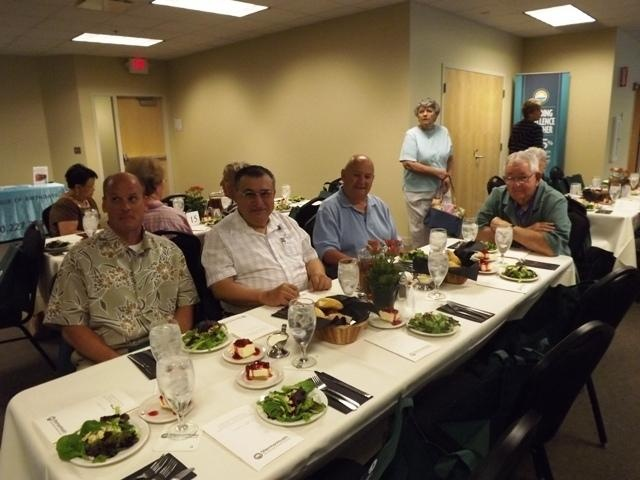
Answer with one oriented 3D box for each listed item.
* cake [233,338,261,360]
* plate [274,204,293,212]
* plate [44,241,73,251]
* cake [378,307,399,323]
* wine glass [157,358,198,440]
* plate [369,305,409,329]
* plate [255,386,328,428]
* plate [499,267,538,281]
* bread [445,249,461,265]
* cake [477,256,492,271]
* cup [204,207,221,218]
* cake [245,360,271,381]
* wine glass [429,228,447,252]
[{"bbox_3d":[-0.286,0.423,1.689,0.079,0.030,0.081,11,19,40],"label":"cake"},{"bbox_3d":[-0.419,-0.365,4.929,0.233,0.072,0.238,2,1,12],"label":"plate"},{"bbox_3d":[-2.027,0.047,3.339,0.117,0.028,0.119,3,7,9],"label":"plate"},{"bbox_3d":[0.304,0.330,1.910,0.068,0.032,0.054,4,9,23],"label":"cake"},{"bbox_3d":[-0.453,0.473,1.373,0.108,0.228,0.199,-10,16,-20],"label":"wine glass"},{"bbox_3d":[0.294,0.324,1.917,0.105,0.040,0.108,5,13,38],"label":"plate"},{"bbox_3d":[-0.092,0.538,1.410,0.235,0.063,0.144,-5,15,-1],"label":"plate"},{"bbox_3d":[1.107,0.191,2.389,0.108,0.033,0.110,9,22,19],"label":"plate"},{"bbox_3d":[0.729,0.082,2.372,0.068,0.040,0.087,-5,33,-11],"label":"bread"},{"bbox_3d":[0.949,0.139,2.534,0.094,0.058,0.097,9,27,28],"label":"cake"},{"bbox_3d":[-1.115,-0.279,4.471,0.151,0.155,0.091,0,8,-10],"label":"cup"},{"bbox_3d":[-0.224,0.459,1.564,0.068,0.043,0.069,0,12,-2],"label":"cake"},{"bbox_3d":[0.674,0.001,2.523,0.111,0.128,0.112,3,3,6],"label":"wine glass"}]
